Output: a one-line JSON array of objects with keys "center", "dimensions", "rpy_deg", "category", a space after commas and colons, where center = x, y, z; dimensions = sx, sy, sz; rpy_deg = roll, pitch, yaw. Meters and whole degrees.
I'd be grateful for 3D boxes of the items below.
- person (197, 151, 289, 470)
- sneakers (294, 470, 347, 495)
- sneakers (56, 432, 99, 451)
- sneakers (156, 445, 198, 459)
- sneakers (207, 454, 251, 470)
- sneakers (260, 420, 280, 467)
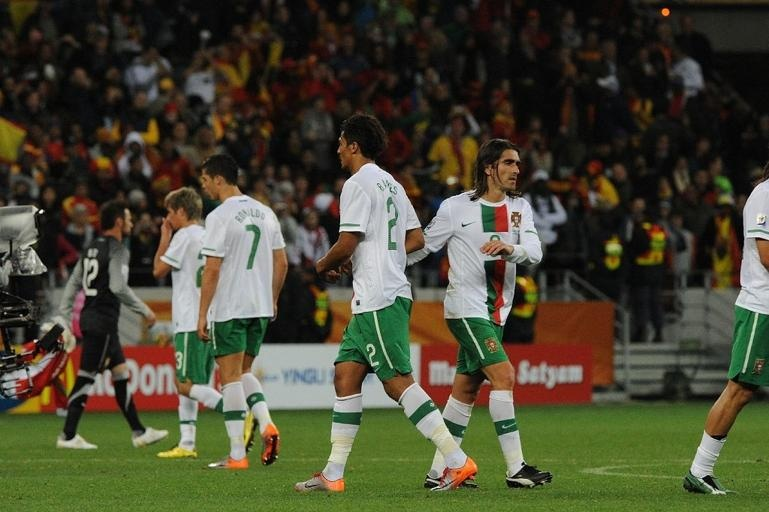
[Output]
[{"center": [-1.913, 0.739, 15.922], "dimensions": [1.097, 4.207, 0.832], "rpy_deg": [1, -1, -9], "category": "person"}, {"center": [-0.784, 2.825, 14.876], "dimensions": [0.667, 0.282, 0.232], "rpy_deg": [3, -8, 0], "category": "sneakers"}, {"center": [-4.522, 2.728, 17.605], "dimensions": [0.681, 0.288, 0.231], "rpy_deg": [2, -1, -8], "category": "sneakers"}, {"center": [-2.945, 2.804, 17.009], "dimensions": [0.563, 0.243, 0.208], "rpy_deg": [5, -5, -5], "category": "sneakers"}, {"center": [-2.101, 2.772, 16.069], "dimensions": [0.498, 0.192, 0.205], "rpy_deg": [2, -11, 5], "category": "sneakers"}, {"center": [-1.460, 2.441, 15.644], "dimensions": [0.202, 0.569, 0.269], "rpy_deg": [-1, 9, -35], "category": "sneakers"}]
